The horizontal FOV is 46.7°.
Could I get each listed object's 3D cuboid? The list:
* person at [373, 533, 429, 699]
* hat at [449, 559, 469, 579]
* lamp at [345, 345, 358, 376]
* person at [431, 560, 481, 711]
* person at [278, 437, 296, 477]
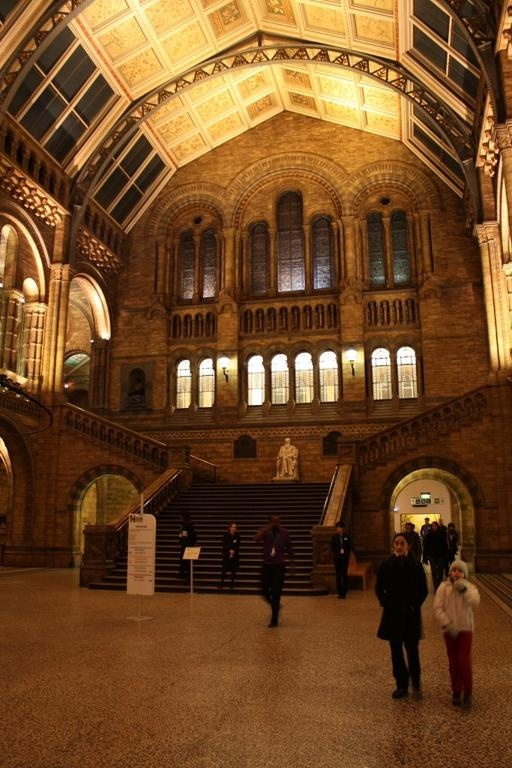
[{"bbox_3d":[1.221,1.924,5.011,0.414,1.331,0.915,-1,-9,15],"label":"person"},{"bbox_3d":[1.607,1.469,4.719,0.139,0.145,0.192,2,-16,16],"label":"hat"},{"bbox_3d":[3.975,-0.923,24.858,0.500,1.256,0.226,1,-9,6],"label":"lamp"},{"bbox_3d":[1.543,1.908,4.572,0.318,1.054,0.402,-1,-10,18],"label":"person"},{"bbox_3d":[1.161,2.844,22.476,0.739,1.520,0.942,1,-9,4],"label":"person"}]
